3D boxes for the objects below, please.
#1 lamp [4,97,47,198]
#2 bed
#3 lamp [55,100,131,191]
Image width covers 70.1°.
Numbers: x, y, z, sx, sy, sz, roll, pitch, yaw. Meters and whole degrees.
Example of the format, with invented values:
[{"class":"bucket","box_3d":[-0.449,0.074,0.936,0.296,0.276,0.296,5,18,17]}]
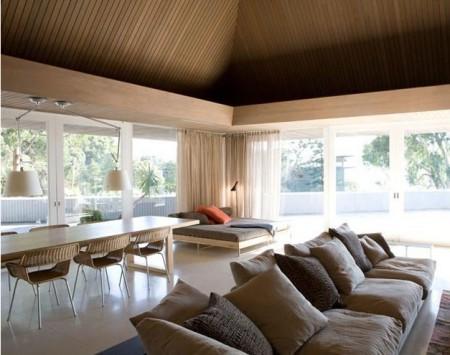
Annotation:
[{"class":"lamp","box_3d":[-3.146,-0.420,5.020,0.601,1.592,2.288,-2,2,-29]},{"class":"bed","box_3d":[-0.112,1.162,6.726,1.271,0.496,1.413,0,1,38]},{"class":"lamp","box_3d":[-2.410,-0.477,5.899,1.101,1.536,2.535,-1,2,-21]}]
